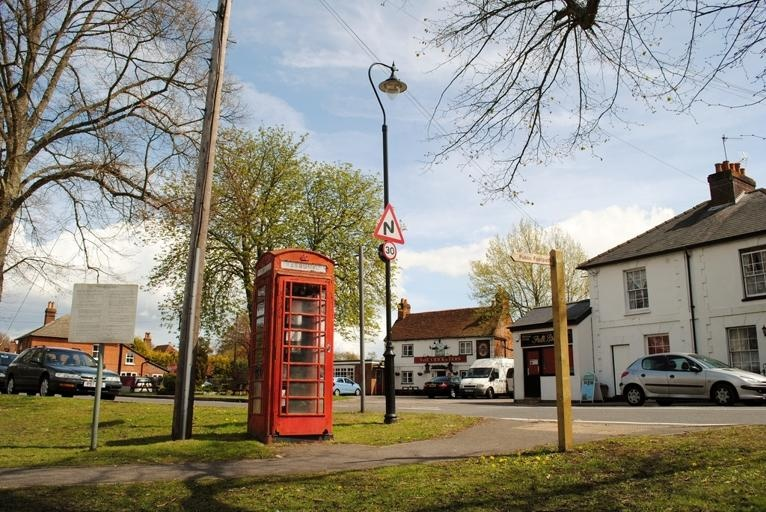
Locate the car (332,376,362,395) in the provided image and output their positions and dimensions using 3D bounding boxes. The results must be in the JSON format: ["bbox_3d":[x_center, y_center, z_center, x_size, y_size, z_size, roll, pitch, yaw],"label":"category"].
[{"bbox_3d":[-2.652,9.503,54.424,1.507,1.623,3.181,-3,-16,9],"label":"car"}]

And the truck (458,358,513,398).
[{"bbox_3d":[6.545,7.826,46.938,1.901,1.891,3.880,-12,-24,34],"label":"truck"}]

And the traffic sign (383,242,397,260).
[{"bbox_3d":[0.159,-0.164,23.021,0.502,0.551,0.158,14,-21,-43],"label":"traffic sign"}]

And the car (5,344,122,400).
[{"bbox_3d":[-12.659,4.479,28.820,4.761,2.045,1.553,-13,-19,36],"label":"car"}]

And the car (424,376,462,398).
[{"bbox_3d":[4.215,9.001,50.820,1.441,1.479,3.369,14,-22,-42],"label":"car"}]
